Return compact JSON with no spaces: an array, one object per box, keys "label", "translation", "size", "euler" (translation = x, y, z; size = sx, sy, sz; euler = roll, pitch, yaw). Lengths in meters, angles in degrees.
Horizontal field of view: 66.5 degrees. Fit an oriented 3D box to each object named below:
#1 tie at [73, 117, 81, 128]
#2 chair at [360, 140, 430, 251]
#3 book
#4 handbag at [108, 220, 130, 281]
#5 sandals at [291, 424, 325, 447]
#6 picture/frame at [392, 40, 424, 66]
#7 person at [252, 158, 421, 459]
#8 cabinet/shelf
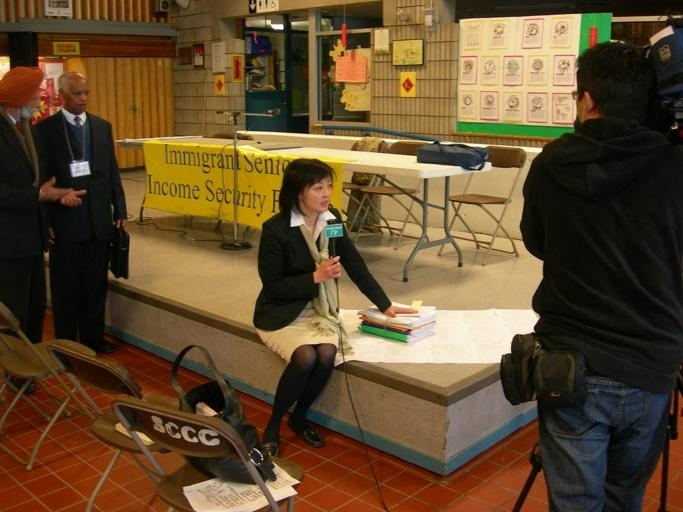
[{"label":"tie","translation":[-2.076,-1.049,4.098],"size":[0.059,0.074,0.023],"euler":[-4,5,-28]},{"label":"chair","translation":[0.523,-0.766,6.626],"size":[0.952,1.067,0.948],"euler":[-5,-14,-46]},{"label":"book","translation":[0.440,0.377,3.536],"size":[0.347,0.143,0.344],"euler":[7,11,37]},{"label":"handbag","translation":[-1.883,-0.045,4.386],"size":[0.154,0.484,0.542],"euler":[2,5,-30]},{"label":"sandals","translation":[-0.203,1.116,3.239],"size":[0.232,0.065,0.085],"euler":[24,18,29]},{"label":"picture/frame","translation":[1.139,-3.429,8.807],"size":[0.517,0.358,0.069],"euler":[9,12,39]},{"label":"person","translation":[-0.257,0.291,3.207],"size":[0.558,1.726,0.967],"euler":[14,19,39]},{"label":"cabinet/shelf","translation":[-1.734,-4.225,12.165],"size":[1.045,2.561,1.211],"euler":[-1,15,-9]}]
